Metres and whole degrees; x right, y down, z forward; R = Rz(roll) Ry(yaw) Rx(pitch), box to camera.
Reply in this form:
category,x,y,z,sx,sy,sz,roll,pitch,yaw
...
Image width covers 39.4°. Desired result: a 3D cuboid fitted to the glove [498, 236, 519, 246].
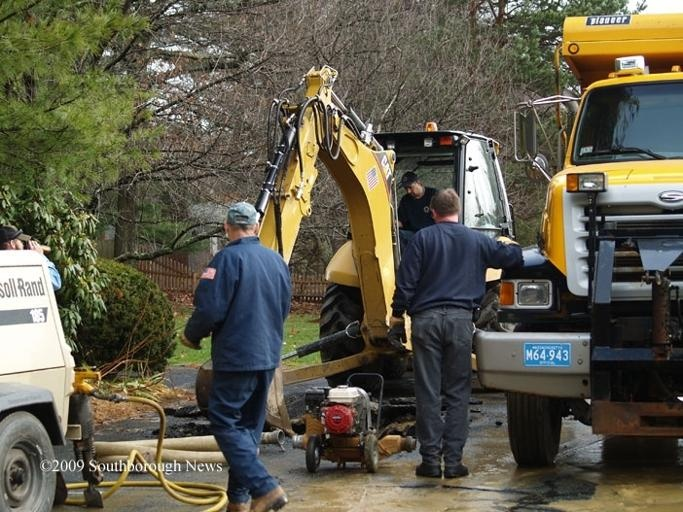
category,x,y,z,sx,sy,sz,roll,pitch,yaw
glove,1.741,-0.163,10.148,0.160,0.070,0.225,6,6,-8

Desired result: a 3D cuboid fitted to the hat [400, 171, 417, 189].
category,x,y,z,sx,sy,sz,roll,pitch,yaw
hat,0.801,-0.895,11.219,0.138,0.130,0.215,-12,6,43

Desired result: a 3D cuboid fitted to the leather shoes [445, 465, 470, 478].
category,x,y,z,sx,sy,sz,roll,pitch,yaw
leather shoes,0.968,1.846,8.162,0.228,0.097,0.083,11,-7,-37

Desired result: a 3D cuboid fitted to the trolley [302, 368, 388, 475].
category,x,y,z,sx,sy,sz,roll,pitch,yaw
trolley,0.109,1.506,8.825,0.603,0.835,1.224,-2,-4,15
